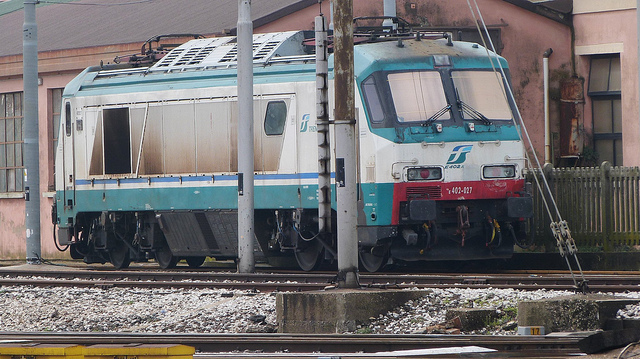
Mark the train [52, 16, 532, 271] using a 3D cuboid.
[{"bbox_3d":[-1.884,-1.053,49.318,6.344,7.345,20.707,-2,0,-36],"label":"train"}]
